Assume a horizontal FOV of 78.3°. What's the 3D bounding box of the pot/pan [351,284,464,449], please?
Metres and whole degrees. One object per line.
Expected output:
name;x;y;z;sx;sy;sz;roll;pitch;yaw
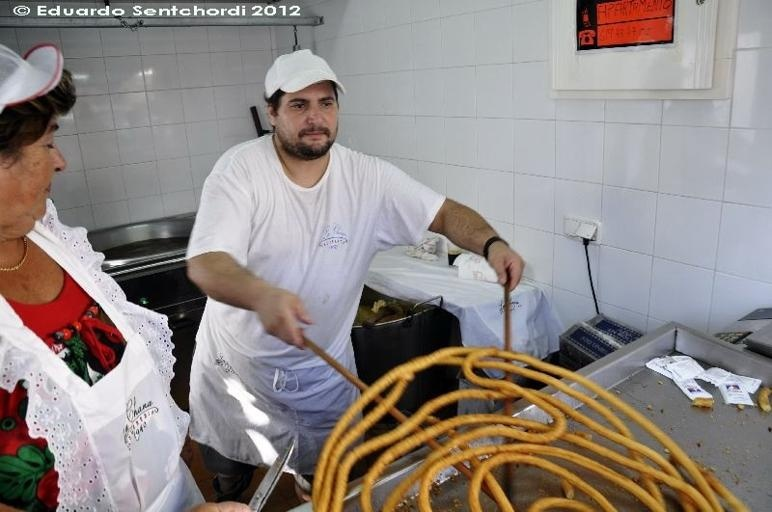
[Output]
pot/pan;0.059;0.492;2.966;0.714;1.056;0.696;-8;21;-23

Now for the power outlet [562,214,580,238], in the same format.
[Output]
power outlet;0.946;-0.154;2.414;0.026;0.098;0.093;-2;7;-26

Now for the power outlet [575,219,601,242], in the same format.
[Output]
power outlet;1.007;-0.124;2.359;0.103;0.106;0.047;13;25;40

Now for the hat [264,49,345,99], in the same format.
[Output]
hat;-0.361;-0.703;1.878;0.204;0.135;0.267;-15;11;-28

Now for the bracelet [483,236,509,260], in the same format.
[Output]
bracelet;0.399;-0.027;1.728;0.063;0.058;0.041;-14;61;-30
